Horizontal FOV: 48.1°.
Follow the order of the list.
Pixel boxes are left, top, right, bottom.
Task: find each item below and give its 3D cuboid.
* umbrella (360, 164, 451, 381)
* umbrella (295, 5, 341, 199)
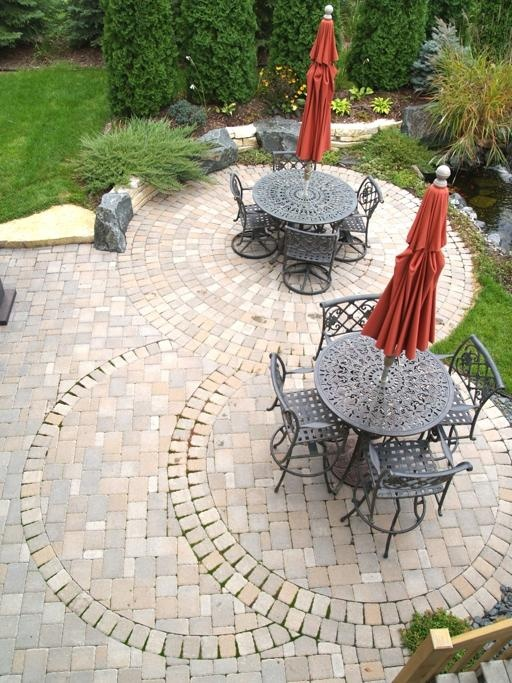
[{"bbox_3d":[0.986,-0.442,3.654,0.469,1.441,0.293,10,39,10],"label":"umbrella"},{"bbox_3d":[0.677,-2.810,6.429,0.350,1.591,0.447,20,42,21],"label":"umbrella"}]
